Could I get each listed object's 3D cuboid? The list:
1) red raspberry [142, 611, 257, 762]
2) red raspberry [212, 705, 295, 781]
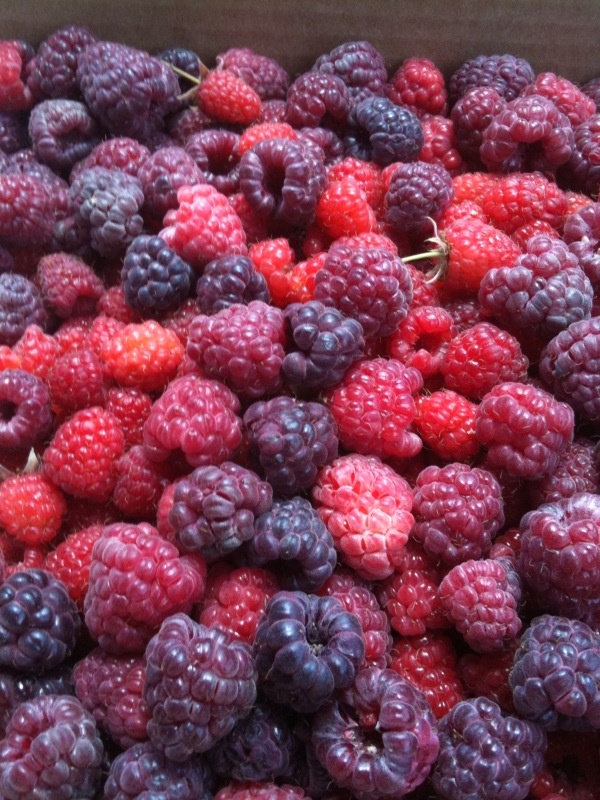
[{"bbox_3d":[-0.127,0.370,1.172,0.149,0.160,0.187,27,86,-13],"label":"red raspberry"},{"bbox_3d":[-0.061,0.473,1.204,0.078,0.061,0.118,-1,76,0],"label":"red raspberry"}]
